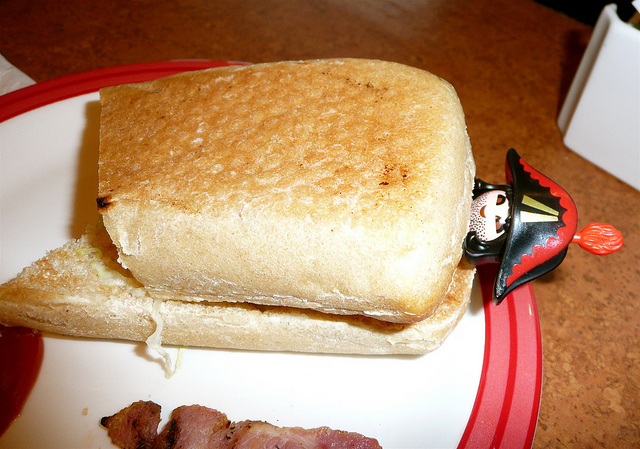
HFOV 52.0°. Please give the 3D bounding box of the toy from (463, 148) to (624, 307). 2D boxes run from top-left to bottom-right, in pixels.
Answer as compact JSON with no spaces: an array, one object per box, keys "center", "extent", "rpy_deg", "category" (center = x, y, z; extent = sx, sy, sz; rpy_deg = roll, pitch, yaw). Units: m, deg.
[{"center":[0.726,0.009,2.135],"extent":[0.517,0.203,0.526],"rpy_deg":[14,61,16],"category":"toy"}]
